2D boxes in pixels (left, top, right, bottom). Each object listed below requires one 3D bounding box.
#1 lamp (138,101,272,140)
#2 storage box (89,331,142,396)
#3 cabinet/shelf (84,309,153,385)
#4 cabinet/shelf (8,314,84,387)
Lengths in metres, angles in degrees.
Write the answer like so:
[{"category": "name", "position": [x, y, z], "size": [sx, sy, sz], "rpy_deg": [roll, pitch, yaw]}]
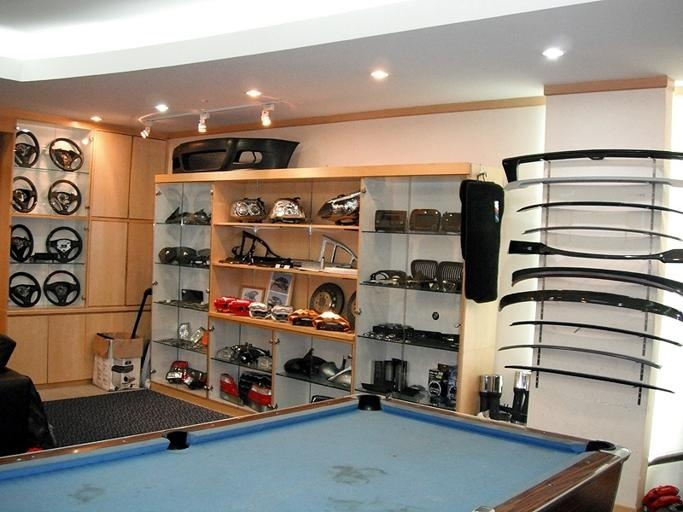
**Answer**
[{"category": "lamp", "position": [-1.403, -1.420, 5.056], "size": [1.750, 0.219, 0.192], "rpy_deg": [1, 26, 28]}, {"category": "storage box", "position": [-2.552, 1.197, 5.796], "size": [0.667, 0.749, 0.648], "rpy_deg": [3, -1, 42]}, {"category": "cabinet/shelf", "position": [-2.667, 1.090, 6.038], "size": [0.832, 1.032, 0.831], "rpy_deg": [2, -2, -43]}, {"category": "cabinet/shelf", "position": [-3.209, 0.993, 5.288], "size": [0.945, 0.802, 0.322], "rpy_deg": [-2, 5, -36]}]
